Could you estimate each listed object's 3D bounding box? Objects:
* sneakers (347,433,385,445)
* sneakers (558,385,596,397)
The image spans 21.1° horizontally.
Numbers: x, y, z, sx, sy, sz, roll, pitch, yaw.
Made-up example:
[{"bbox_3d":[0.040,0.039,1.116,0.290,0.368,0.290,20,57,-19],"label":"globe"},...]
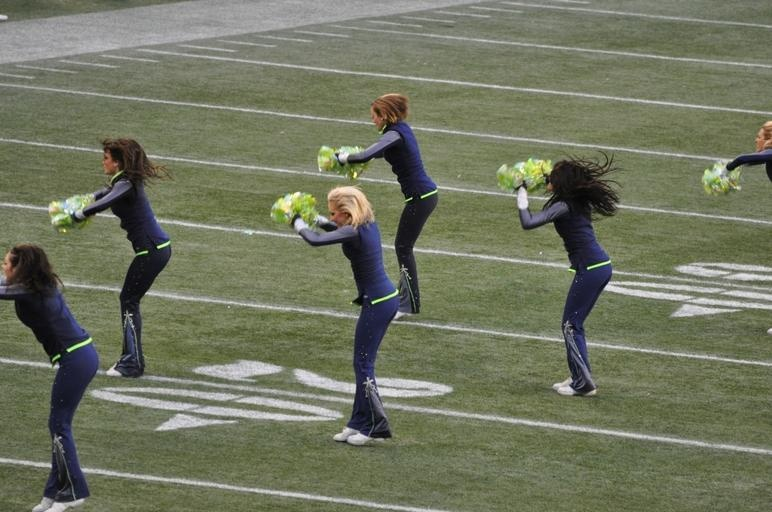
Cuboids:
[{"bbox_3d":[-0.240,2.568,28.289,0.565,0.151,0.169,4,7,-14],"label":"sneakers"},{"bbox_3d":[2.696,1.948,29.293,0.586,0.166,0.172,2,8,3],"label":"sneakers"}]
